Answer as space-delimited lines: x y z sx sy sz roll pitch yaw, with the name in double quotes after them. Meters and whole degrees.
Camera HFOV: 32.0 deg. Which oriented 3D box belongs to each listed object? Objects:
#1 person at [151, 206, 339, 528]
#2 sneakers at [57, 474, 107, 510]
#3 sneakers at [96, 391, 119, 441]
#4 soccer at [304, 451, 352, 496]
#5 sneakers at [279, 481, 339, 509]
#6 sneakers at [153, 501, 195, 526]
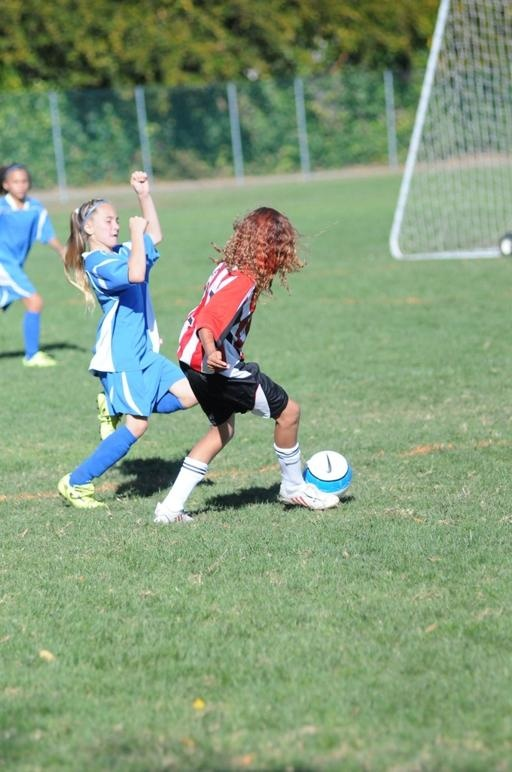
-0.017 -0.039 3.537 0.670 1.297 0.599 -12 15 -32 "person"
-0.793 0.488 4.049 0.220 0.096 0.070 23 36 13 "sneakers"
-0.677 0.154 4.165 0.102 0.277 0.124 -4 10 -27 "sneakers"
0.335 0.367 3.957 0.197 0.183 0.194 -14 1 19 "soccer"
0.229 0.478 3.890 0.290 0.109 0.102 2 8 4 "sneakers"
-0.361 0.540 3.717 0.196 0.079 0.066 0 6 -15 "sneakers"
